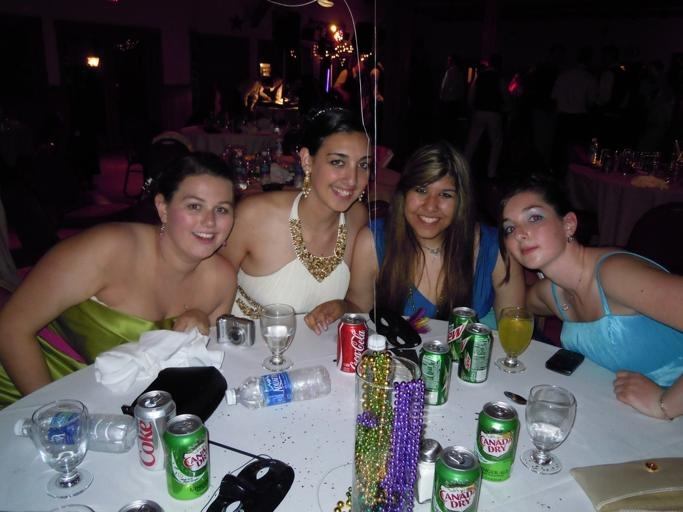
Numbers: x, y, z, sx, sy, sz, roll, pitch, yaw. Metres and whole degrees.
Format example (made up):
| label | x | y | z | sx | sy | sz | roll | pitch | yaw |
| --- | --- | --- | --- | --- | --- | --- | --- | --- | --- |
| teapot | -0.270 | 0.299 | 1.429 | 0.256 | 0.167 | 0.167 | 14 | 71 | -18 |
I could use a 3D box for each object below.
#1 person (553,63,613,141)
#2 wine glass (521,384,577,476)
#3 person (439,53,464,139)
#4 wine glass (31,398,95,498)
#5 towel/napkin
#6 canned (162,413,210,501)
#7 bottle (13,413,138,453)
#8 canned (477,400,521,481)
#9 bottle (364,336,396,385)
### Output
| label | x | y | z | sx | sy | sz | roll | pitch | yaw |
| --- | --- | --- | --- | --- | --- | --- | --- | --- | --- |
| person | 3.747 | -2.301 | 7.683 | 0.784 | 1.266 | 1.132 | 8 | 27 | 21 |
| wine glass | 0.705 | 0.558 | 1.654 | 0.150 | 0.211 | 0.290 | 13 | 29 | 29 |
| person | 2.274 | -3.175 | 9.916 | 0.501 | 1.624 | 0.921 | 3 | 25 | 12 |
| wine glass | -0.864 | 0.591 | 1.527 | 0.159 | 0.198 | 0.227 | -18 | 29 | -31 |
| towel/napkin | -0.730 | 0.397 | 1.905 | 0.337 | 0.120 | 0.268 | -15 | 45 | -38 |
| canned | -0.480 | 0.612 | 1.490 | 0.145 | 0.223 | 0.121 | -6 | 25 | -8 |
| bottle | -0.839 | 0.565 | 1.555 | 0.330 | 0.116 | 0.108 | 4 | 9 | 10 |
| canned | 0.497 | 0.591 | 1.560 | 0.117 | 0.226 | 0.109 | -6 | 25 | -9 |
| bottle | 0.113 | 0.311 | 1.474 | 0.094 | 0.106 | 0.230 | 1 | 26 | 7 |
